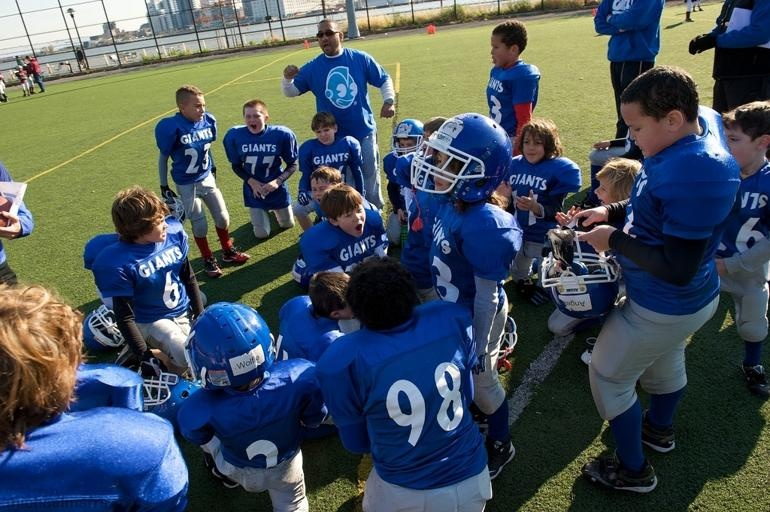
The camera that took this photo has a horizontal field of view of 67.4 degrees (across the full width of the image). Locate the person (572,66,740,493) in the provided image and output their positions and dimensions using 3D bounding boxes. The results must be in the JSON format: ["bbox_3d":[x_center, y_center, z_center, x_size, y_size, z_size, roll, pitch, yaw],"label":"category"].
[{"bbox_3d":[1.735,0.224,3.944,1.131,2.863,1.042,13,29,37],"label":"person"}]

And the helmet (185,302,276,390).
[{"bbox_3d":[-1.025,0.547,3.760,0.450,0.451,0.564,-10,28,-22],"label":"helmet"}]

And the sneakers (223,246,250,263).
[{"bbox_3d":[-1.768,0.010,6.794,0.348,0.184,0.151,2,52,-10],"label":"sneakers"}]

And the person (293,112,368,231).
[{"bbox_3d":[-0.670,-0.898,6.875,0.962,1.639,0.884,-5,30,-9],"label":"person"}]

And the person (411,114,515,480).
[{"bbox_3d":[0.575,0.300,4.158,0.722,2.442,1.037,-5,16,-14],"label":"person"}]

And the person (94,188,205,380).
[{"bbox_3d":[-2.007,0.264,4.855,0.663,1.557,0.706,21,55,4],"label":"person"}]

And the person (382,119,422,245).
[{"bbox_3d":[0.270,-0.683,6.634,0.641,1.683,0.530,1,19,7],"label":"person"}]

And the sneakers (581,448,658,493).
[{"bbox_3d":[1.570,1.464,3.958,0.520,0.263,0.223,7,59,28],"label":"sneakers"}]

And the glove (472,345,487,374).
[{"bbox_3d":[0.625,0.697,3.888,0.149,0.152,0.045,3,10,-22],"label":"glove"}]

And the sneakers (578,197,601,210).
[{"bbox_3d":[2.342,-0.600,6.609,0.308,0.131,0.228,-16,12,-35],"label":"sneakers"}]

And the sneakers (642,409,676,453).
[{"bbox_3d":[1.929,1.220,4.190,0.143,0.168,0.362,-11,28,-3],"label":"sneakers"}]

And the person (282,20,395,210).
[{"bbox_3d":[-0.502,-1.541,7.061,1.227,2.560,0.895,-11,25,-5],"label":"person"}]

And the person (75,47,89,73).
[{"bbox_3d":[-16.961,-10.828,31.848,0.483,1.192,1.591,-18,25,-21],"label":"person"}]

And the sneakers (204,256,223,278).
[{"bbox_3d":[-1.991,0.113,6.550,0.132,0.150,0.324,-11,27,-29],"label":"sneakers"}]

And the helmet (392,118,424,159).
[{"bbox_3d":[0.264,-1.316,6.411,0.310,0.390,0.436,9,33,37],"label":"helmet"}]

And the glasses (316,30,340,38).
[{"bbox_3d":[-0.687,-2.562,6.651,0.233,0.082,0.144,-8,23,1],"label":"glasses"}]
